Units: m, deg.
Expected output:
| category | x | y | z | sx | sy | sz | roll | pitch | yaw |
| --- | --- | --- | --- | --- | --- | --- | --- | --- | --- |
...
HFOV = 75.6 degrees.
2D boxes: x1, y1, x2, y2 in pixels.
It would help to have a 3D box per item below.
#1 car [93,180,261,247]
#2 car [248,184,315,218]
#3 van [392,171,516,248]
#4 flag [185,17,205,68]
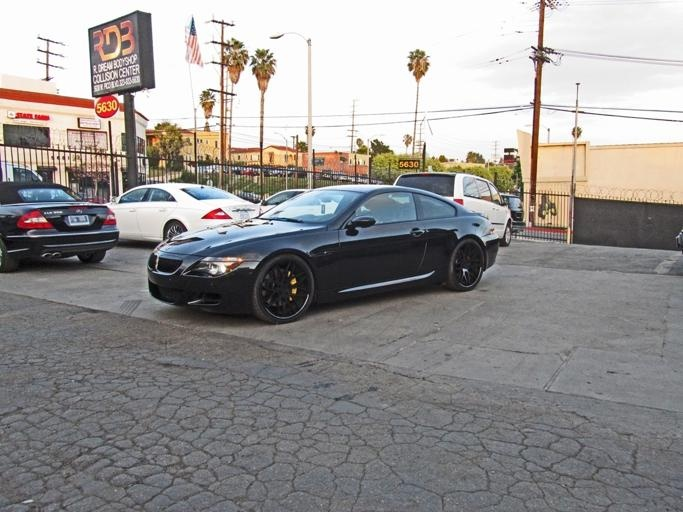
| category | x | y | z | sx | sy | sz | roll | pitch | yaw |
| --- | --- | --- | --- | --- | --- | --- | --- | --- | --- |
| car | -4.260 | -1.348 | 11.994 | 4.242 | 1.313 | 1.787 | 7 | 9 | 28 |
| car | -1.689 | -1.922 | 15.171 | 2.802 | 0.908 | 1.260 | -3 | 7 | -16 |
| van | 3.688 | -1.551 | 13.873 | 1.994 | 1.462 | 4.052 | 7 | 9 | 42 |
| flag | -9.739 | -14.313 | 29.471 | 0.848 | 3.208 | 2.541 | -4 | 11 | -15 |
